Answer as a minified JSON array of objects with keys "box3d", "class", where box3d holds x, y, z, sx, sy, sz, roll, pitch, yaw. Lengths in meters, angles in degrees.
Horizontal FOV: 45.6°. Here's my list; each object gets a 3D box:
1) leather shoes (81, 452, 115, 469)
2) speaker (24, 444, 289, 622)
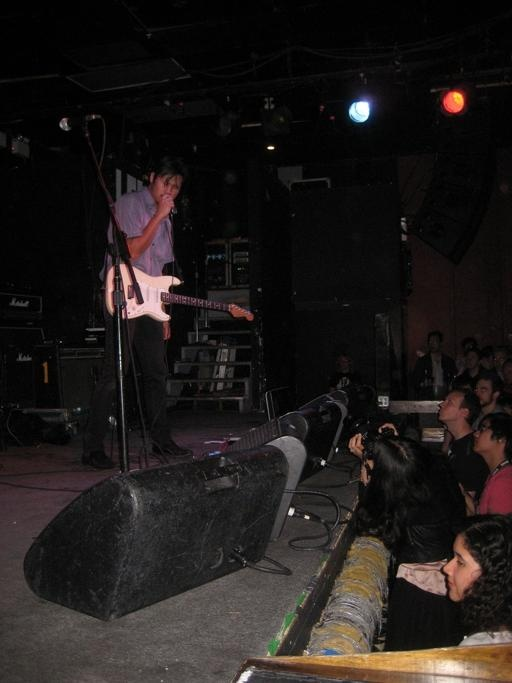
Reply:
[{"box3d":[-0.749,0.574,2.902,0.180,0.077,0.068,-1,0,24],"class":"leather shoes"},{"box3d":[-0.270,0.335,1.431,0.337,0.334,0.590,-2,-6,35],"class":"speaker"}]
